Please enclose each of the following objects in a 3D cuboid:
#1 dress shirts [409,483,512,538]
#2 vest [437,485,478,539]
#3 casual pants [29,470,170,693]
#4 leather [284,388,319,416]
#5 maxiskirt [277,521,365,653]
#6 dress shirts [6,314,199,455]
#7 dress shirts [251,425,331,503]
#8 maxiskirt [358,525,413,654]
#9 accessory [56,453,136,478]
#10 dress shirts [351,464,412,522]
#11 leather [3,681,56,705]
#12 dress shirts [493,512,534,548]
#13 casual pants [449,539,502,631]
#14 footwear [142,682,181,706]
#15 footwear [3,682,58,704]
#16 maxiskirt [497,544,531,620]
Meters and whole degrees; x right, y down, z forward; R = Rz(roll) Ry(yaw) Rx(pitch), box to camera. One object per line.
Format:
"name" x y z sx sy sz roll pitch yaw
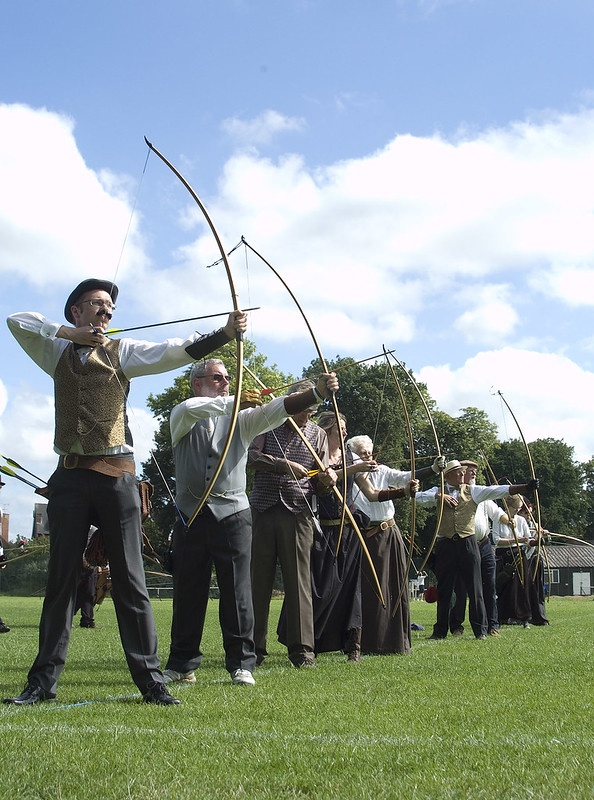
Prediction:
"dress shirts" 1.624 1.087 9.979 1.321 0.573 0.292 -1 -4 22
"vest" 1.604 1.099 9.977 0.410 0.546 0.292 -5 -12 24
"casual pants" -0.982 0.784 4.785 0.662 1.243 0.262 0 2 -13
"leather" 0.032 -0.002 5.263 0.173 0.134 0.254 4 -9 -17
"maxiskirt" 0.176 1.267 7.181 0.676 1.158 0.287 -3 15 -7
"dress shirts" -0.906 -0.093 4.649 0.815 0.483 0.178 2 -16 -5
"dress shirts" -0.066 0.433 6.730 0.486 0.587 0.329 6 -46 -1
"maxiskirt" 0.756 1.348 7.754 0.289 0.735 0.419 8 -18 -32
"accessory" -0.963 0.306 4.734 0.357 0.118 0.184 3 -8 -11
"dress shirts" 0.674 0.720 7.880 0.419 0.484 0.201 -3 -26 36
"leather" -1.188 1.328 4.470 0.253 0.092 0.085 17 -25 -41
"dress shirts" 2.771 1.682 12.810 0.594 0.514 0.326 4 -13 -22
"casual pants" 1.859 1.946 10.530 0.521 1.060 0.303 -6 2 35
"footwear" -0.624 1.332 4.511 0.149 0.083 0.166 4 -8 -15
"footwear" -1.198 1.324 4.476 0.253 0.093 0.084 17 -26 -41
"maxiskirt" 2.723 2.248 12.290 0.397 0.894 0.357 -7 13 -37
